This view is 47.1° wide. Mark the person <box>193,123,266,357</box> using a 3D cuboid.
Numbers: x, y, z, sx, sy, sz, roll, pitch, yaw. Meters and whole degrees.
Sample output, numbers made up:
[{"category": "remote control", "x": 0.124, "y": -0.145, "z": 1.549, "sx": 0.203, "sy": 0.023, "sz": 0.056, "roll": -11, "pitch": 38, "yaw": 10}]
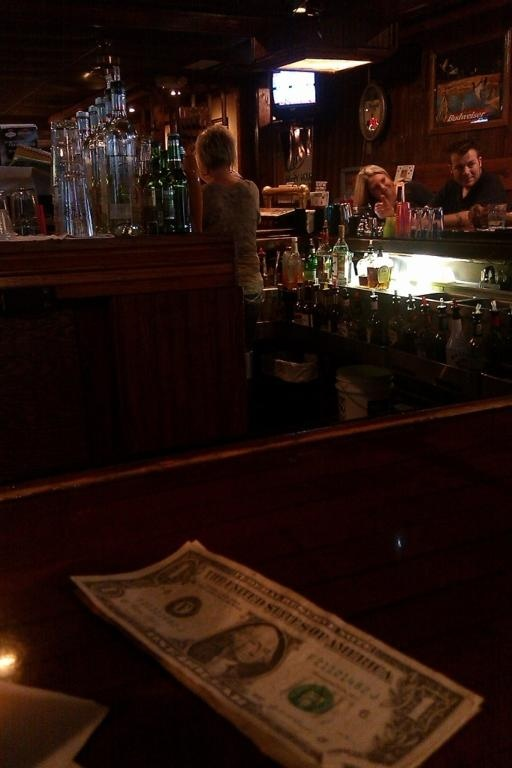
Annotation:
[{"category": "person", "x": -0.157, "y": -0.834, "z": 3.406, "sx": 0.358, "sy": 1.325, "sz": 0.396, "roll": -2, "pitch": 8, "yaw": -2}]

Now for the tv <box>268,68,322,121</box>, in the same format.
[{"category": "tv", "x": 0.481, "y": -3.712, "z": 7.544, "sx": 0.591, "sy": 0.551, "sz": 0.203, "roll": -2, "pitch": 8, "yaw": 0}]
